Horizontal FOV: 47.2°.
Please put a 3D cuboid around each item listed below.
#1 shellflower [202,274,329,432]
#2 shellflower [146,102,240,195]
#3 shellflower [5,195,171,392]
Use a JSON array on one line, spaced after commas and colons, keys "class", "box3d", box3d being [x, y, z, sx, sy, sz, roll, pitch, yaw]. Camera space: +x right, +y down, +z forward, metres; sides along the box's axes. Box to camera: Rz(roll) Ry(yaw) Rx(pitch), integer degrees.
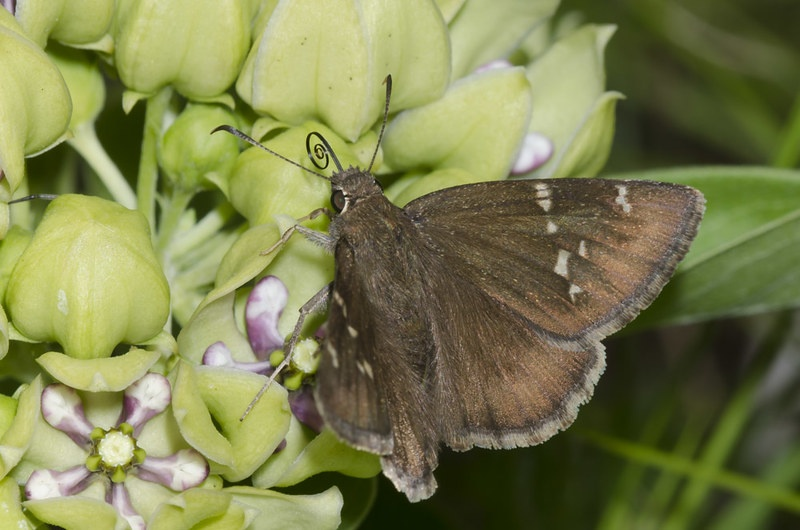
[{"class": "shellflower", "box3d": [-0.247, 0.172, 1.767, 0.240, 0.270, 0.082, 7, -5, -4]}, {"class": "shellflower", "box3d": [-0.398, -0.218, 1.835, 0.174, 0.140, 0.151, -19, -7, 43]}, {"class": "shellflower", "box3d": [-0.533, 0.031, 1.626, 0.267, 0.335, 0.133, -12, 4, -9]}]
